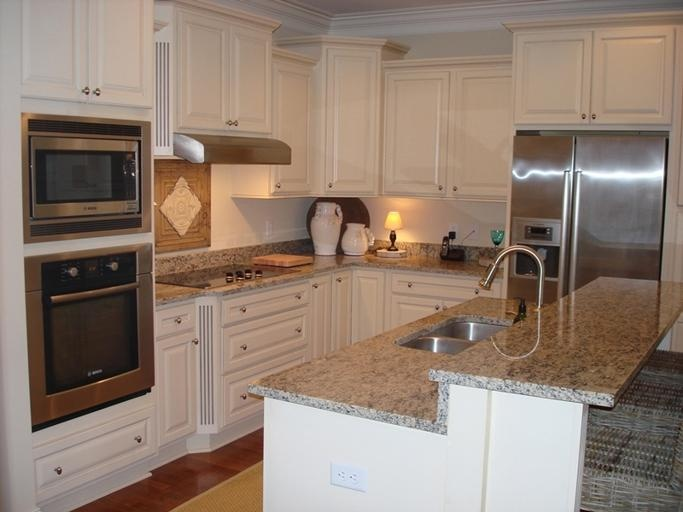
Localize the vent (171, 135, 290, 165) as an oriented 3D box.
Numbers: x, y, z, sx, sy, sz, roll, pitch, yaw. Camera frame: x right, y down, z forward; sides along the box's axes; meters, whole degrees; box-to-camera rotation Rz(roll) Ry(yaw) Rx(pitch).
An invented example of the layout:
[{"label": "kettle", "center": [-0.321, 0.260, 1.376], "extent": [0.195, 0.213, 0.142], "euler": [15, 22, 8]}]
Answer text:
[{"label": "vent", "center": [-0.784, -0.788, 3.951], "extent": [0.245, 0.208, 0.924], "euler": [7, 12, 38]}]

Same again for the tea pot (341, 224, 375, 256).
[{"label": "tea pot", "center": [0.157, -0.161, 5.229], "extent": [0.342, 0.301, 0.257], "euler": [2, 0, 3]}]

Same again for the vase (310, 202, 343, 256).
[{"label": "vase", "center": [-0.147, -0.262, 5.206], "extent": [0.296, 0.505, 0.146], "euler": [-1, 9, -4]}]

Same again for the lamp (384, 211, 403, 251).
[{"label": "lamp", "center": [0.519, -0.254, 5.341], "extent": [0.156, 0.366, 0.345], "euler": [1, 9, 6]}]

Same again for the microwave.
[{"label": "microwave", "center": [-1.373, -0.404, 2.831], "extent": [0.336, 0.600, 0.718], "euler": [3, 4, 39]}]
